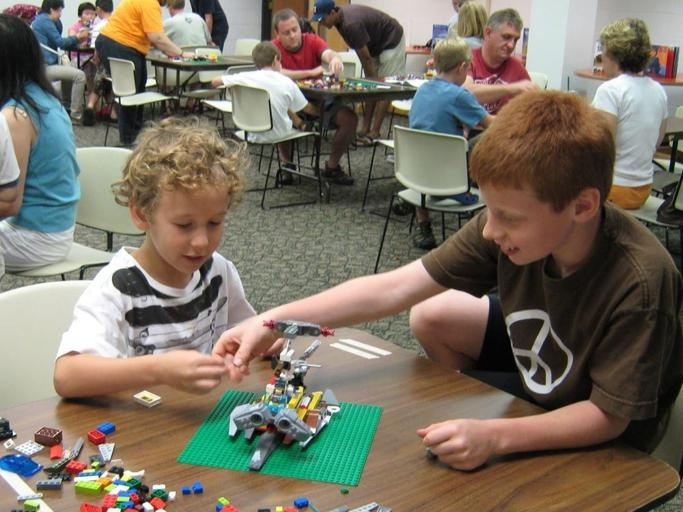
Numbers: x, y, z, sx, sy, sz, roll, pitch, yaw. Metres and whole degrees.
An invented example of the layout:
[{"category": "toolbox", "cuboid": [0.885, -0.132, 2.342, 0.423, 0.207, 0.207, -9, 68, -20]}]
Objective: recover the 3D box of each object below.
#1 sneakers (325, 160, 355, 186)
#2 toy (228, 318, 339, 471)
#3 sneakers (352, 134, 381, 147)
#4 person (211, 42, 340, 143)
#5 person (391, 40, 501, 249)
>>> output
[{"category": "sneakers", "cuboid": [-0.046, -0.777, 5.379, 0.360, 0.237, 0.127, 6, 44, -8]}, {"category": "toy", "cuboid": [-0.115, 0.268, 1.251, 0.173, 0.178, 0.328, 8, 22, 19]}, {"category": "sneakers", "cuboid": [0.264, -1.361, 6.493, 0.290, 0.176, 0.639, 0, 11, -1]}, {"category": "person", "cuboid": [-0.616, -1.398, 4.852, 0.811, 0.764, 0.561, -7, 22, -18]}, {"category": "person", "cuboid": [0.784, -0.797, 4.004, 0.652, 1.417, 0.545, -19, 31, -29]}]
